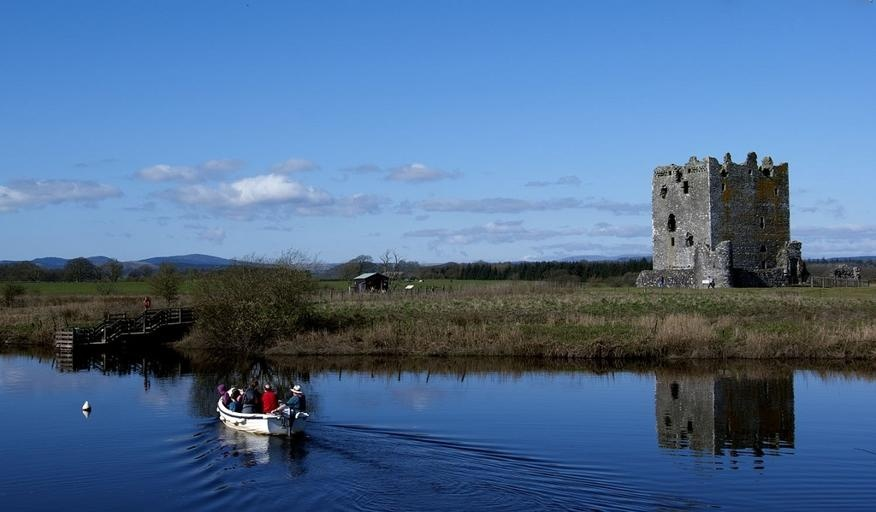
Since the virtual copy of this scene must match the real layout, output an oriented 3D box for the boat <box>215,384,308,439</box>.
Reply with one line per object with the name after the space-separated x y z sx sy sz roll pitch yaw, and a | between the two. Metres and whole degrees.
-10.112 9.125 54.013 4.709 1.513 2.440 -2 -4 40 | boat
